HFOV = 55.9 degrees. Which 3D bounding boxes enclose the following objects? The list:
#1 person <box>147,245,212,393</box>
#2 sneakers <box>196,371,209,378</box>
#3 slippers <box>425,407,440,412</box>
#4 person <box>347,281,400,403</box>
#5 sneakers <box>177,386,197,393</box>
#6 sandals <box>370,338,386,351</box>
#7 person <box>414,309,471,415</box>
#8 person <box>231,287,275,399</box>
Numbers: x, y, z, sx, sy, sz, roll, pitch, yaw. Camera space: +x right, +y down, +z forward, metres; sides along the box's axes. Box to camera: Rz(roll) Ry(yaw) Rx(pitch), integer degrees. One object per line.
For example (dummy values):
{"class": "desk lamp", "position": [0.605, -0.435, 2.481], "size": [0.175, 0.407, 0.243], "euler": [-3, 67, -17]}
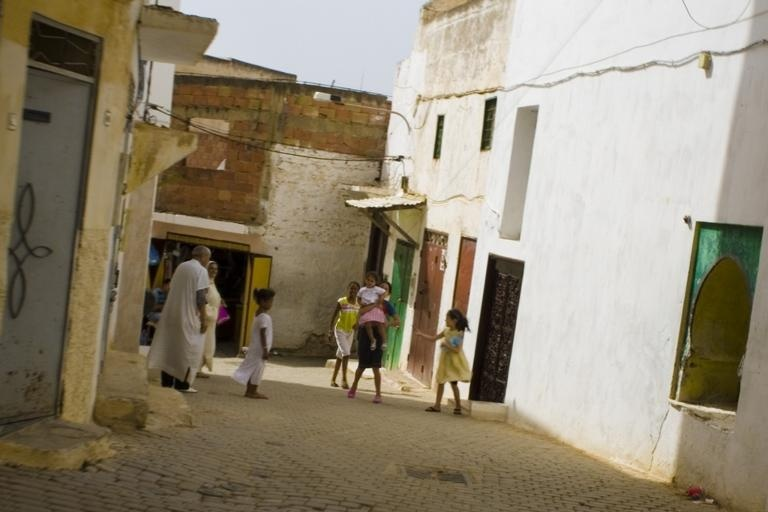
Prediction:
{"class": "person", "position": [-2.948, 0.874, 10.487], "size": [0.748, 2.009, 0.498], "euler": [7, 1, 2]}
{"class": "sneakers", "position": [-3.165, 2.051, 12.662], "size": [0.148, 0.051, 0.155], "euler": [2, -1, -6]}
{"class": "slippers", "position": [0.806, 2.429, 11.585], "size": [0.163, 0.048, 0.089], "euler": [8, -10, -25]}
{"class": "person", "position": [-0.140, 1.327, 12.039], "size": [0.633, 2.092, 0.713], "euler": [7, 1, -11]}
{"class": "sneakers", "position": [-2.881, 1.938, 10.602], "size": [0.286, 0.112, 0.104], "euler": [0, 0, -9]}
{"class": "sandals", "position": [-0.079, 1.427, 11.747], "size": [0.248, 0.170, 0.121], "euler": [7, 1, -15]}
{"class": "person", "position": [1.094, 1.670, 11.821], "size": [0.723, 1.681, 0.769], "euler": [7, 1, -1]}
{"class": "person", "position": [-1.962, 1.306, 11.070], "size": [0.538, 1.608, 0.883], "euler": [7, 1, -10]}
